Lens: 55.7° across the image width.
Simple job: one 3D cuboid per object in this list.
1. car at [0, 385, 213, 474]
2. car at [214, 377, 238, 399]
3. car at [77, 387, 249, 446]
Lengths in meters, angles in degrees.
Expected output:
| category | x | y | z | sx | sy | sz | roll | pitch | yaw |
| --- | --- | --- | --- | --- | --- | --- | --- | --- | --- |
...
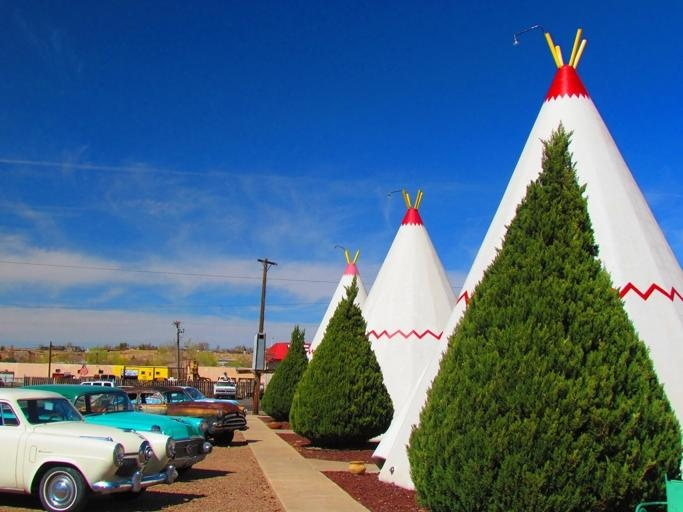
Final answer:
| category | x | y | z | sx | sy | sz | roll | pitch | yaw |
| --- | --- | --- | --- | --- | --- | --- | --- | --- | --- |
| car | -3.595 | 2.736 | 9.864 | 2.947 | 1.133 | 1.420 | 3 | -3 | 9 |
| car | -6.549 | 7.538 | 36.660 | 0.859 | 0.943 | 2.082 | 0 | -11 | -4 |
| car | -3.316 | 3.339 | 13.290 | 2.648 | 1.014 | 1.290 | 1 | -2 | -15 |
